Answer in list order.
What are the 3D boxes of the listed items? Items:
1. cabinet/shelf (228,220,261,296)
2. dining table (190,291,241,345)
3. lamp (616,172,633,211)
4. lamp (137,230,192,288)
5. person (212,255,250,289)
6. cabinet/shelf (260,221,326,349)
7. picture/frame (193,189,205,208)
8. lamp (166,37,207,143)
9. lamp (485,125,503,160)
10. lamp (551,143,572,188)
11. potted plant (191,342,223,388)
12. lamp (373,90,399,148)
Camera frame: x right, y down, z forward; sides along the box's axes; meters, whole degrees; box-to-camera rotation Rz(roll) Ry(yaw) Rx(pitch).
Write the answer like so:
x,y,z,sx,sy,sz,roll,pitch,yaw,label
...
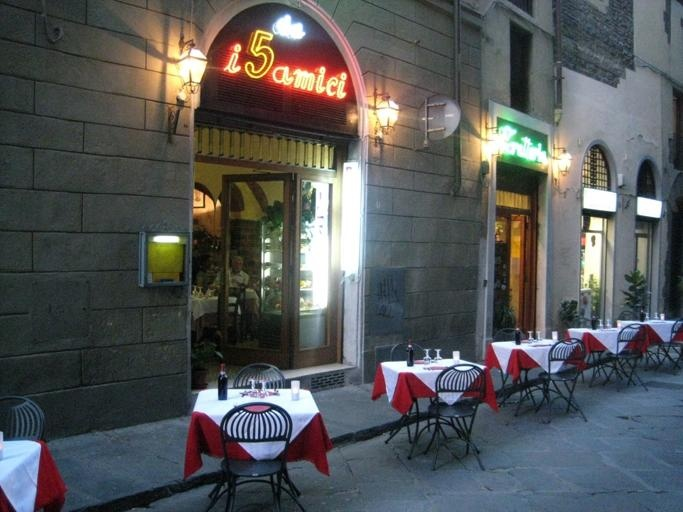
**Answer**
x,y,z,sx,sy,sz,roll,pitch,yaw,label
-1.640,0.090,10.361,0.555,1.453,0.149,4,-26,-13,cabinet/shelf
-2.284,1.050,11.047,0.787,0.487,0.863,-1,2,-13,dining table
7.407,-1.657,16.348,0.211,0.883,0.865,-1,-3,35,lamp
-2.362,0.045,8.295,0.607,0.758,0.212,1,-1,-32,lamp
-1.827,0.395,10.357,0.448,0.827,0.429,11,0,-4,person
-0.708,0.388,10.366,1.046,2.290,0.296,2,-3,-28,cabinet/shelf
-3.332,-1.314,14.497,0.249,0.407,0.364,1,-3,-11,picture/frame
-2.088,-2.272,8.297,0.352,1.489,0.524,2,-3,-34,lamp
2.962,-2.202,12.138,0.238,0.606,0.338,2,-3,-33,lamp
5.018,-2.045,14.088,0.377,0.910,0.450,4,-8,-11,lamp
-2.118,1.658,9.361,0.419,0.635,0.388,6,2,-11,potted plant
0.716,-2.304,10.499,0.344,0.889,0.318,1,-3,-23,lamp
